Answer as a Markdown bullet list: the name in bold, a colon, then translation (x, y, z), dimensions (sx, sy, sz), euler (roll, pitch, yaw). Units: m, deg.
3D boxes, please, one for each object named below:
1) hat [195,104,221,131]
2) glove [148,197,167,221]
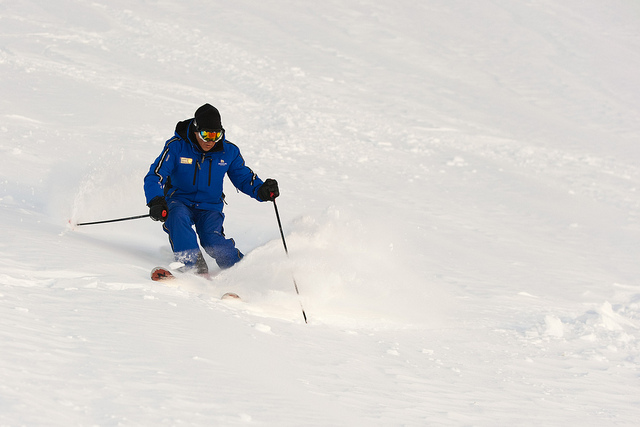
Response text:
- **hat**: translation (-2.351, -2.052, 20.874), dimensions (0.587, 0.362, 0.585), euler (-1, 61, -16)
- **glove**: translation (-3.393, -0.093, 20.541), dimensions (0.428, 0.223, 0.457), euler (-2, 82, -11)
